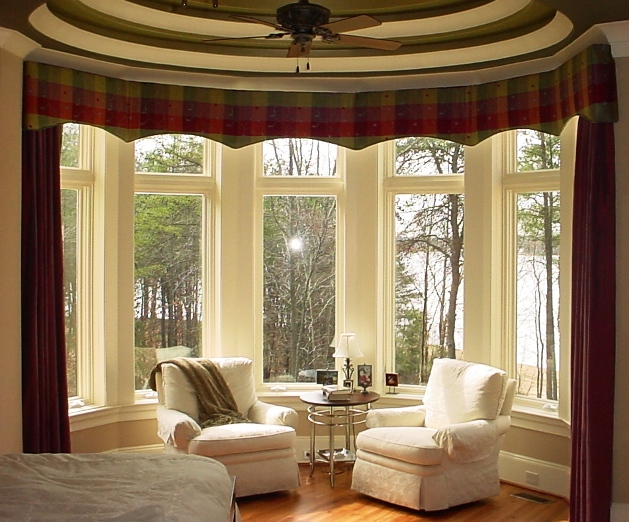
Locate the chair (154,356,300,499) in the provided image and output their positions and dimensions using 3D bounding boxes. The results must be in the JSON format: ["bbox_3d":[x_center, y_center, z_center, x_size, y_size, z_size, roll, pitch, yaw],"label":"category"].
[{"bbox_3d":[-0.774,1.351,4.840,1.160,0.961,1.178,0,-4,-14],"label":"chair"}]

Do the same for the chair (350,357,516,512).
[{"bbox_3d":[1.003,1.354,4.640,1.210,0.921,1.009,2,-4,-26],"label":"chair"}]

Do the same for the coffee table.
[{"bbox_3d":[0.251,1.521,5.139,0.799,0.753,0.780,2,-4,-39],"label":"coffee table"}]
